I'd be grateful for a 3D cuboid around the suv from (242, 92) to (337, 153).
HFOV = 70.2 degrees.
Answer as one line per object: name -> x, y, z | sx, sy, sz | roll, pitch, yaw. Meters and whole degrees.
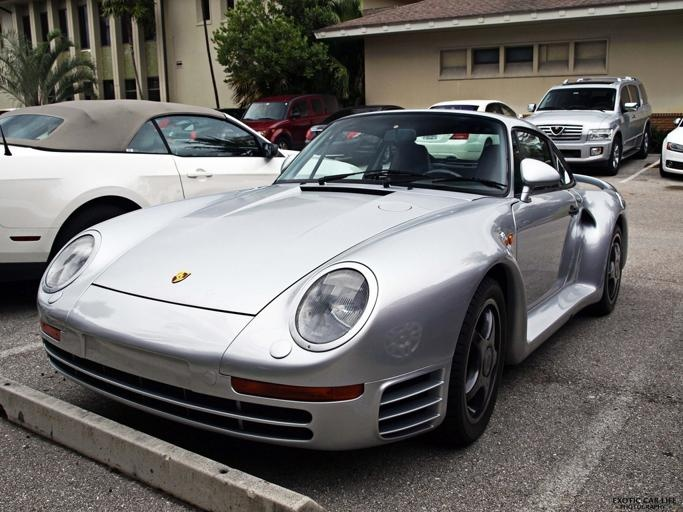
suv -> -1.841, -4.879, 17.226 | 3.448, 1.812, 1.988 | -16, 22, -40
